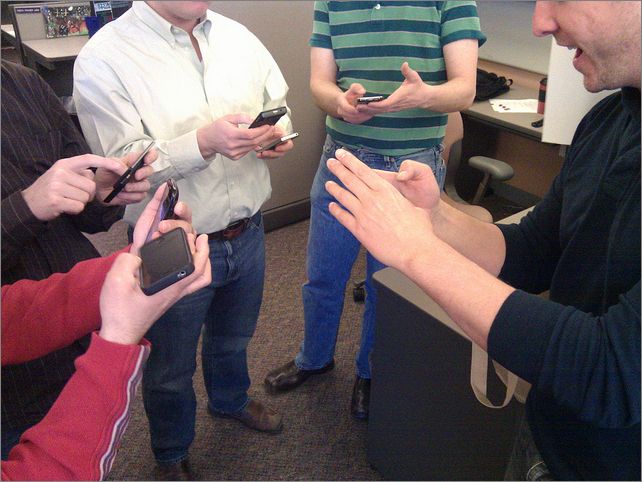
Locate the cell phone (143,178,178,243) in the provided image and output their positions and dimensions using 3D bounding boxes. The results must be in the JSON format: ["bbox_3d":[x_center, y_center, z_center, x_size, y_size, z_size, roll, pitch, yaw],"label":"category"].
[{"bbox_3d":[-0.428,-0.081,1.414,0.025,0.087,0.196,22,26,-20],"label":"cell phone"}]

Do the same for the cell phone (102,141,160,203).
[{"bbox_3d":[-0.587,-0.219,1.617,0.029,0.149,0.273,39,60,-3],"label":"cell phone"}]
